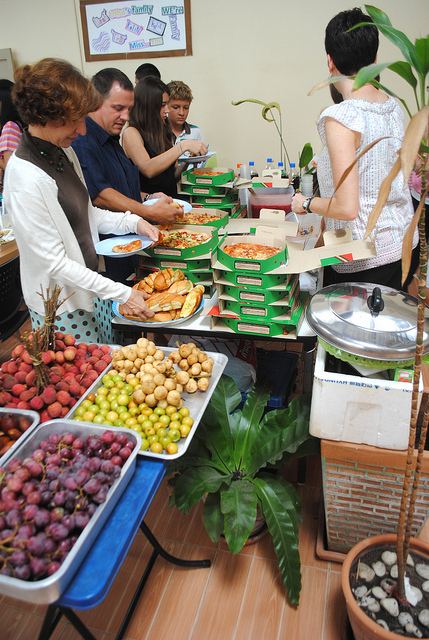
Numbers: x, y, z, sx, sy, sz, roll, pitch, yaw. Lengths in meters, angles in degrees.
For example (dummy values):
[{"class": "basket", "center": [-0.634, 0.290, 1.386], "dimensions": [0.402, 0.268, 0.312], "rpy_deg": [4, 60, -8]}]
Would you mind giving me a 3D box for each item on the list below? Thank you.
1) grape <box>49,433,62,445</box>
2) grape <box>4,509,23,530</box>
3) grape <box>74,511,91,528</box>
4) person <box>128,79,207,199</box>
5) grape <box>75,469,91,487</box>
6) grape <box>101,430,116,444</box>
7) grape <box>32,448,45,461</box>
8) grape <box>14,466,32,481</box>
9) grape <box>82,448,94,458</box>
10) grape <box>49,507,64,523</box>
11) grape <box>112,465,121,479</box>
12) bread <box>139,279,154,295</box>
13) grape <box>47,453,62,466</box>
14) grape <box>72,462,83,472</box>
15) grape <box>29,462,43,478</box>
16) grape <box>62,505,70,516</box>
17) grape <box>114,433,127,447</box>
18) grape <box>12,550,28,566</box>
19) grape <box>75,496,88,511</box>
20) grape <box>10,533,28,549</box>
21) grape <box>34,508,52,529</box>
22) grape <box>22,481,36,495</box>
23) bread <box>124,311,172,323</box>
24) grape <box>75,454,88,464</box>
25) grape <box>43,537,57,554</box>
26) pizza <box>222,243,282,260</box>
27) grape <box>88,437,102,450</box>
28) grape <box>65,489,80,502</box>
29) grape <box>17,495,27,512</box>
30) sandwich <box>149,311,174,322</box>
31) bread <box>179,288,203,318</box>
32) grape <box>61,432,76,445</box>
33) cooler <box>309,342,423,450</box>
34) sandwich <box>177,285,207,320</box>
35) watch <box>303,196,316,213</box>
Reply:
[{"class": "grape", "center": [-0.379, 0.280, 1.048], "dimensions": [0.023, 0.024, 0.028], "rpy_deg": [-8, -15, -6]}, {"class": "grape", "center": [-0.369, 0.364, 0.803], "dimensions": [0.022, 0.023, 0.031], "rpy_deg": [-8, 55, 17]}, {"class": "grape", "center": [-0.254, 0.381, 0.843], "dimensions": [0.023, 0.024, 0.028], "rpy_deg": [0, 36, -8]}, {"class": "person", "center": [-0.325, -1.064, 2.866], "dimensions": [0.503, 0.905, 0.445], "rpy_deg": [2, 31, 1]}, {"class": "grape", "center": [-0.267, 0.322, 0.896], "dimensions": [0.022, 0.031, 0.017], "rpy_deg": [5, -12, 8]}, {"class": "grape", "center": [-0.244, 0.272, 1.021], "dimensions": [0.026, 0.023, 0.033], "rpy_deg": [7, 26, 24]}, {"class": "grape", "center": [-0.382, 0.290, 0.952], "dimensions": [0.021, 0.029, 0.016], "rpy_deg": [3, -13, -16]}, {"class": "grape", "center": [-0.387, 0.313, 0.893], "dimensions": [0.020, 0.027, 0.020], "rpy_deg": [17, 7, -23]}, {"class": "grape", "center": [-0.280, 0.296, 0.982], "dimensions": [0.018, 0.014, 0.018], "rpy_deg": [4, 1, 10]}, {"class": "grape", "center": [-0.300, 0.369, 0.832], "dimensions": [0.017, 0.018, 0.024], "rpy_deg": [9, 55, -14]}, {"class": "grape", "center": [-0.211, 0.328, 0.951], "dimensions": [0.014, 0.027, 0.020], "rpy_deg": [8, -11, 13]}, {"class": "bread", "center": [-0.267, -0.131, 1.753], "dimensions": [0.054, 0.054, 0.014], "rpy_deg": [17, -19, 34]}, {"class": "grape", "center": [-0.343, 0.298, 0.943], "dimensions": [0.018, 0.018, 0.023], "rpy_deg": [-29, -5, -6]}, {"class": "grape", "center": [-0.290, 0.310, 0.932], "dimensions": [0.015, 0.015, 0.015], "rpy_deg": [9, 5, -6]}, {"class": "grape", "center": [-0.371, 0.311, 0.911], "dimensions": [0.025, 0.031, 0.026], "rpy_deg": [-2, -18, -11]}, {"class": "grape", "center": [-0.289, 0.371, 0.858], "dimensions": [0.005, 0.014, 0.014], "rpy_deg": [-25, -5, -20]}, {"class": "grape", "center": [-0.217, 0.278, 1.021], "dimensions": [0.025, 0.031, 0.026], "rpy_deg": [3, 28, 12]}, {"class": "grape", "center": [-0.333, 0.406, 0.753], "dimensions": [0.021, 0.014, 0.024], "rpy_deg": [13, -25, -35]}, {"class": "grape", "center": [-0.262, 0.365, 0.866], "dimensions": [0.021, 0.018, 0.012], "rpy_deg": [-4, -16, 43]}, {"class": "grape", "center": [-0.343, 0.387, 0.773], "dimensions": [0.021, 0.026, 0.014], "rpy_deg": [-8, 25, -27]}, {"class": "grape", "center": [-0.320, 0.369, 0.822], "dimensions": [0.022, 0.031, 0.023], "rpy_deg": [8, -11, 15]}, {"class": "grape", "center": [-0.365, 0.330, 0.865], "dimensions": [0.019, 0.020, 0.011], "rpy_deg": [11, 5, 22]}, {"class": "bread", "center": [-0.247, -0.009, 1.652], "dimensions": [0.185, 0.036, 0.057], "rpy_deg": [1, 25, 13]}, {"class": "grape", "center": [-0.290, 0.301, 0.952], "dimensions": [0.014, 0.014, 0.014], "rpy_deg": [3, 3, -1]}, {"class": "grape", "center": [-0.293, 0.400, 0.782], "dimensions": [0.016, 0.017, 0.022], "rpy_deg": [-11, 43, 18]}, {"class": "pizza", "center": [0.132, -0.248, 1.571], "dimensions": [0.196, 0.019, 0.181], "rpy_deg": [1, 25, 13]}, {"class": "grape", "center": [-0.270, 0.280, 0.996], "dimensions": [0.019, 0.014, 0.025], "rpy_deg": [4, 24, -2]}, {"class": "grape", "center": [-0.281, 0.344, 0.870], "dimensions": [0.022, 0.013, 0.023], "rpy_deg": [19, 26, 38]}, {"class": "grape", "center": [-0.370, 0.355, 0.852], "dimensions": [0.016, 0.020, 0.011], "rpy_deg": [-14, -26, 42]}, {"class": "sandwich", "center": [-0.201, -0.008, 1.633], "dimensions": [0.054, 0.015, 0.052], "rpy_deg": [-1, 23, -3]}, {"class": "bread", "center": [-0.087, -0.062, 1.674], "dimensions": [0.043, 0.044, 0.146], "rpy_deg": [11, 43, 12]}, {"class": "grape", "center": [-0.342, 0.273, 1.034], "dimensions": [0.023, 0.024, 0.029], "rpy_deg": [30, 5, 19]}, {"class": "cooler", "center": [0.417, 0.256, 1.279], "dimensions": [0.282, 0.239, 0.136], "rpy_deg": [9, 27, 29]}, {"class": "sandwich", "center": [-0.086, -0.065, 1.678], "dimensions": [0.048, 0.052, 0.170], "rpy_deg": [8, 36, 16]}, {"class": "watch", "center": [0.363, -0.450, 1.719], "dimensions": [0.054, 0.058, 0.036], "rpy_deg": [10, 7, -26]}]
